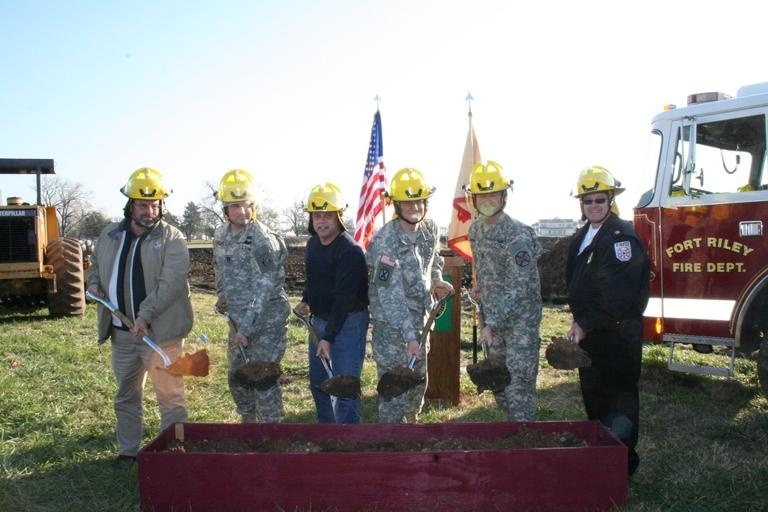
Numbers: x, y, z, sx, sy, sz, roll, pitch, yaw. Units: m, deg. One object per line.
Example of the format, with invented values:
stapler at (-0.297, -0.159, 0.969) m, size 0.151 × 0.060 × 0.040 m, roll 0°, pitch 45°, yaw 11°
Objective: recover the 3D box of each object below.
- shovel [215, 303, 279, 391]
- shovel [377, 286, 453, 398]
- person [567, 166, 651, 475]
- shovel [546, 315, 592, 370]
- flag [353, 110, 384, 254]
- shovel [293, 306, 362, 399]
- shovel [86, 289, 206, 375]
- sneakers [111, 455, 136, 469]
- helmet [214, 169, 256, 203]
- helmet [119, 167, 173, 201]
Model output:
shovel at (-1.540, 1.206, 8.021) m, size 0.395 × 0.644 × 0.288 m, roll -5°, pitch -27°, yaw -35°
shovel at (0.410, 0.984, 7.960) m, size 0.490 × 0.155 × 1.510 m, roll -4°, pitch 43°, yaw 42°
person at (2.486, 0.688, 7.830) m, size 0.855 × 3.388 × 0.611 m, roll 2°, pitch 1°, yaw 20°
shovel at (1.999, 0.945, 7.679) m, size 0.439 × 0.532 × 0.122 m, roll -13°, pitch -8°, yaw 27°
flag at (-0.198, -1.230, 12.451) m, size 0.624 × 3.417 × 0.452 m, roll 1°, pitch -31°, yaw 5°
shovel at (-0.597, 1.180, 7.975) m, size 0.580 × 0.910 × 0.690 m, roll 1°, pitch 1°, yaw -15°
shovel at (-2.914, 0.945, 8.491) m, size 0.253 × 1.404 × 0.418 m, roll -39°, pitch 5°, yaw 46°
sneakers at (-2.958, 2.333, 7.960) m, size 0.196 × 0.216 × 0.126 m, roll -1°, pitch -12°, yaw 16°
helmet at (-1.741, -0.827, 8.311) m, size 0.470 × 0.427 × 0.664 m, roll -5°, pitch -1°, yaw -15°
helmet at (-2.786, -0.891, 8.217) m, size 0.513 × 0.333 × 0.624 m, roll 0°, pitch 15°, yaw -23°
